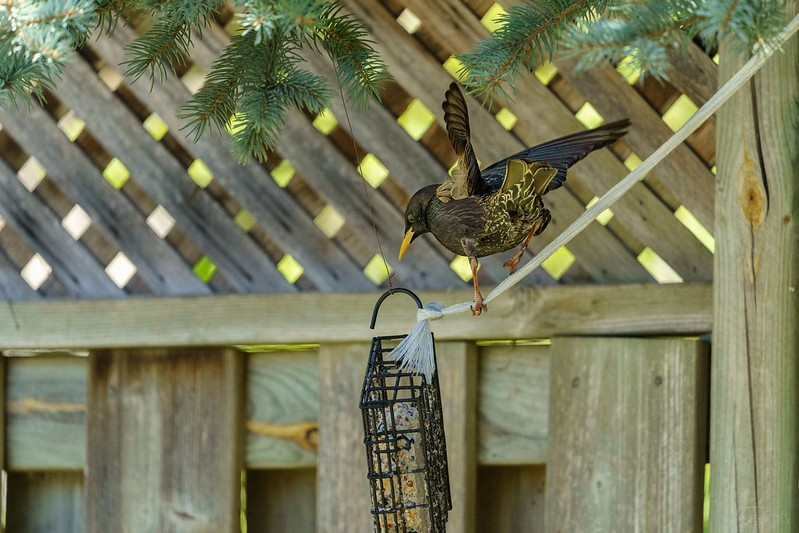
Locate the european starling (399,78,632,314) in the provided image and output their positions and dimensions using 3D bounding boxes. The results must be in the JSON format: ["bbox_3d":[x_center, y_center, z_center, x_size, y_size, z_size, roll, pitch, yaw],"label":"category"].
[{"bbox_3d":[0.270,-0.220,7.460,0.760,0.569,0.762,1,-13,-45],"label":"european starling"}]
